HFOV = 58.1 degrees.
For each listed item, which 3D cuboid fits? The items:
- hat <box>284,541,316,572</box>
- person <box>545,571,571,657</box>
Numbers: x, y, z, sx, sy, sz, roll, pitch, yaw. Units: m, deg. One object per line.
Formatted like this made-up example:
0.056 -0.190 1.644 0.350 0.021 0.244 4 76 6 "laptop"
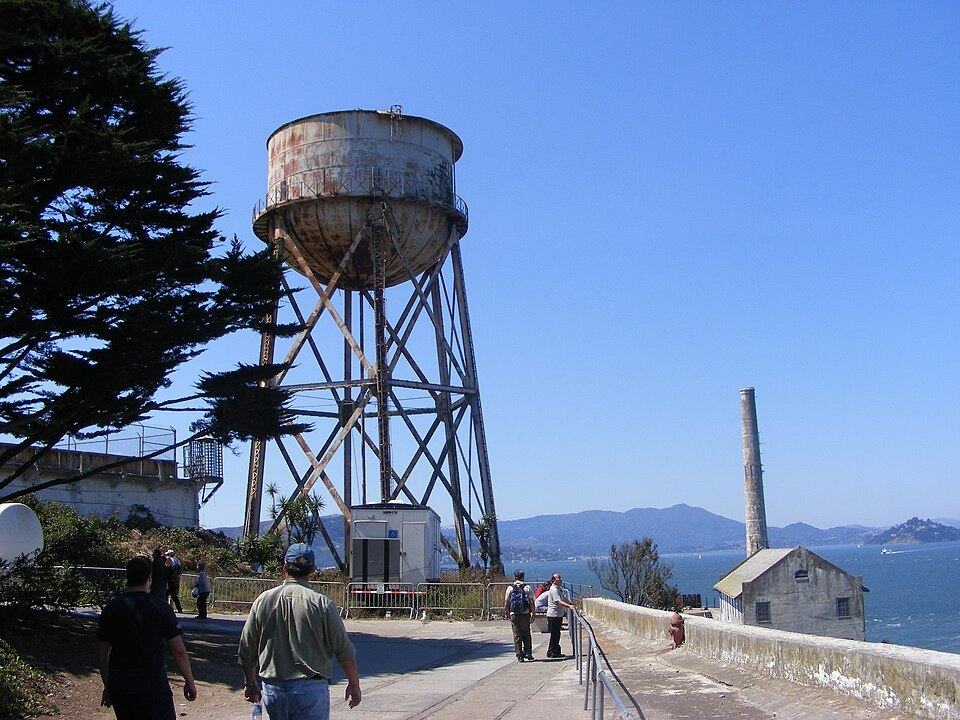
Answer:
-1.833 1.915 8.594 0.320 0.260 0.524 10 -2 -6 "hat"
1.900 5.933 20.330 0.598 1.703 0.692 -4 -7 25 "person"
